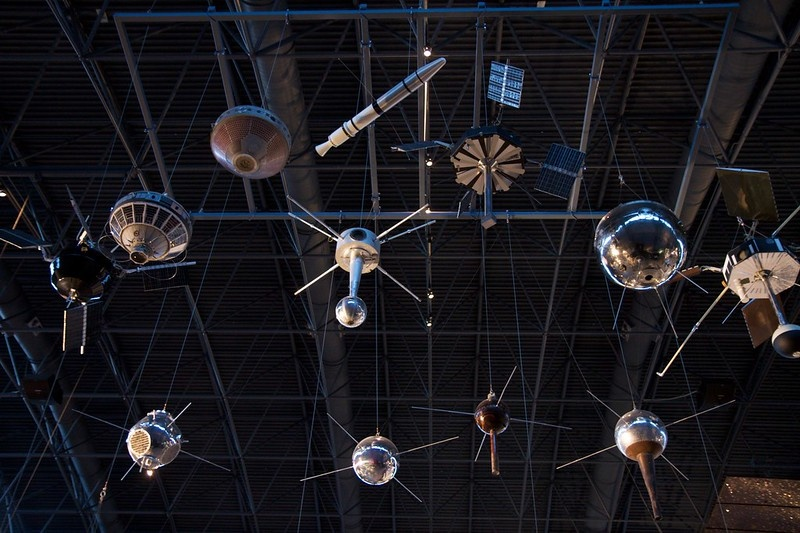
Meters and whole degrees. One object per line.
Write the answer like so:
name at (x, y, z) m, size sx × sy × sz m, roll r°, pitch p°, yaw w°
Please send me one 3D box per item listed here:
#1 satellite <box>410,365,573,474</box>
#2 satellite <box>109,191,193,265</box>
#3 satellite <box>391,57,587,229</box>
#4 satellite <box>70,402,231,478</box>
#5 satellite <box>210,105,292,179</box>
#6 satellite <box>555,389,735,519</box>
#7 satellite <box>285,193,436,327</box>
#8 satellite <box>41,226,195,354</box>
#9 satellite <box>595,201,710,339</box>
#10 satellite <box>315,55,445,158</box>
satellite at (2.973, 5.526, 38.755) m, size 4.451 × 4.318 × 2.715 m, roll 4°, pitch -75°, yaw 43°
satellite at (-7.788, -1.175, 37.383) m, size 2.376 × 1.734 × 2.365 m, roll -7°, pitch -50°, yaw 2°
satellite at (3.334, -3.349, 37.034) m, size 5.916 × 3.011 × 5.871 m, roll -2°, pitch -56°, yaw 10°
satellite at (-8.350, 5.762, 39.082) m, size 4.435 × 2.046 × 4.362 m, roll 2°, pitch -15°, yaw -32°
satellite at (-4.585, -3.868, 36.553) m, size 2.321 × 0.928 × 2.094 m, roll 25°, pitch -80°, yaw -3°
satellite at (7.875, 5.988, 37.274) m, size 5.699 × 3.721 × 5.393 m, roll -6°, pitch -33°, yaw 1°
satellite at (-1.250, 0.301, 37.940) m, size 4.763 × 4.030 × 4.363 m, roll -7°, pitch -43°, yaw 13°
satellite at (-9.867, 0.024, 37.250) m, size 4.085 × 2.143 × 4.057 m, roll 24°, pitch -33°, yaw -10°
satellite at (7.521, -0.668, 35.715) m, size 2.631 × 2.940 × 2.618 m, roll 6°, pitch -61°, yaw 2°
satellite at (-0.678, -5.765, 41.251) m, size 6.082 × 0.814 × 0.781 m, roll -30°, pitch -56°, yaw 13°
